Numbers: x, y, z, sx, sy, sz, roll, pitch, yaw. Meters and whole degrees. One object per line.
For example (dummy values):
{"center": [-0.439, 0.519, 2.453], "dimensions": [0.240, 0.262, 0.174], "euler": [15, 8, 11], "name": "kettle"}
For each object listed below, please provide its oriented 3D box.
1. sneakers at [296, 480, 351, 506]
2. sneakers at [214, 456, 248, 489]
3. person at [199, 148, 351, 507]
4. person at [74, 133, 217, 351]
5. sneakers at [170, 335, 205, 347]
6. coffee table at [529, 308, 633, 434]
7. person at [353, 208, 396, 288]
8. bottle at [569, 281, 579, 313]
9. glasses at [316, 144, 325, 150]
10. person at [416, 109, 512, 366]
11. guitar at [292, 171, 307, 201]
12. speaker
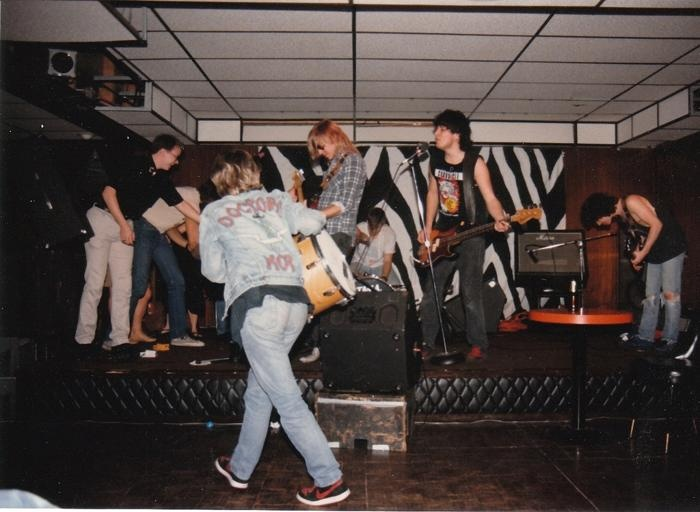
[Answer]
{"center": [-0.180, 1.642, 4.614], "dimensions": [0.389, 0.193, 0.156], "euler": [0, -8, 6], "name": "sneakers"}
{"center": [-0.893, 1.587, 4.785], "dimensions": [0.124, 0.138, 0.336], "euler": [21, 13, -47], "name": "sneakers"}
{"center": [-0.557, 0.482, 4.654], "dimensions": [0.955, 2.510, 0.322], "euler": [-2, -2, -3], "name": "person"}
{"center": [-1.999, -0.129, 6.130], "dimensions": [1.106, 2.006, 0.584], "euler": [-1, -2, -15], "name": "person"}
{"center": [-1.576, 0.834, 6.430], "dimensions": [0.335, 0.129, 0.126], "euler": [1, -5, -6], "name": "sneakers"}
{"center": [1.833, 0.915, 5.303], "dimensions": [0.908, 1.100, 0.957], "euler": [-2, 8, 5], "name": "coffee table"}
{"center": [0.280, -0.122, 7.243], "dimensions": [0.505, 0.791, 0.787], "euler": [2, 34, 2], "name": "person"}
{"center": [1.766, 0.312, 5.200], "dimensions": [0.064, 0.244, 0.130], "euler": [-2, -2, 19], "name": "bottle"}
{"center": [-0.237, -0.899, 5.384], "dimensions": [0.051, 0.053, 0.038], "euler": [21, 29, -27], "name": "glasses"}
{"center": [1.010, -0.223, 5.880], "dimensions": [0.805, 2.264, 0.561], "euler": [-3, -2, 22], "name": "person"}
{"center": [-0.404, -0.600, 5.428], "dimensions": [0.163, 0.337, 0.047], "euler": [7, 16, 44], "name": "guitar"}
{"center": [0.257, 0.572, 5.408], "dimensions": [0.941, 1.006, 0.721], "euler": [0, 5, 9], "name": "speaker"}
